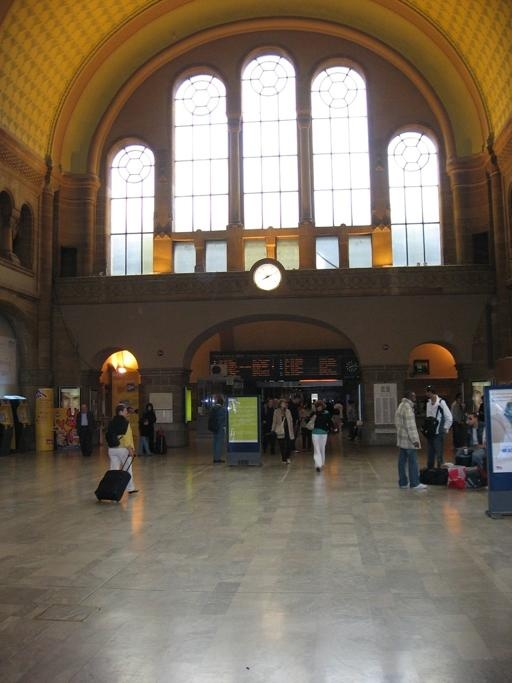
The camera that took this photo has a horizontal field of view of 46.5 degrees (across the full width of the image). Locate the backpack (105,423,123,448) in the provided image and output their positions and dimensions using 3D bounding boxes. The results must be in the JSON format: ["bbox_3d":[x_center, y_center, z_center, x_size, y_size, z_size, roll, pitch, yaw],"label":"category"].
[{"bbox_3d":[-2.362,1.582,9.949,0.130,0.373,0.261,8,-9,-41],"label":"backpack"}]

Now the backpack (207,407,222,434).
[{"bbox_3d":[-1.030,1.979,14.976,0.343,0.703,0.460,-2,-2,-6],"label":"backpack"}]

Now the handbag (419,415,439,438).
[{"bbox_3d":[3.224,1.581,11.168,0.327,0.617,0.443,-1,-4,19],"label":"handbag"}]

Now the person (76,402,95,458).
[{"bbox_3d":[-5.154,2.679,18.144,0.483,1.487,0.959,-2,-2,-16],"label":"person"}]

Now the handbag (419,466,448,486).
[{"bbox_3d":[3.131,2.392,10.514,0.419,0.307,0.296,-2,-4,15],"label":"handbag"}]

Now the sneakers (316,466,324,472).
[{"bbox_3d":[1.357,2.744,12.777,0.097,0.094,0.167,-1,2,10],"label":"sneakers"}]

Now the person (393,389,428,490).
[{"bbox_3d":[2.614,1.700,10.220,0.451,1.628,1.043,-2,-2,14],"label":"person"}]

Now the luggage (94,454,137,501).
[{"bbox_3d":[-2.191,2.224,9.630,0.469,0.663,1.407,-2,-2,4],"label":"luggage"}]
